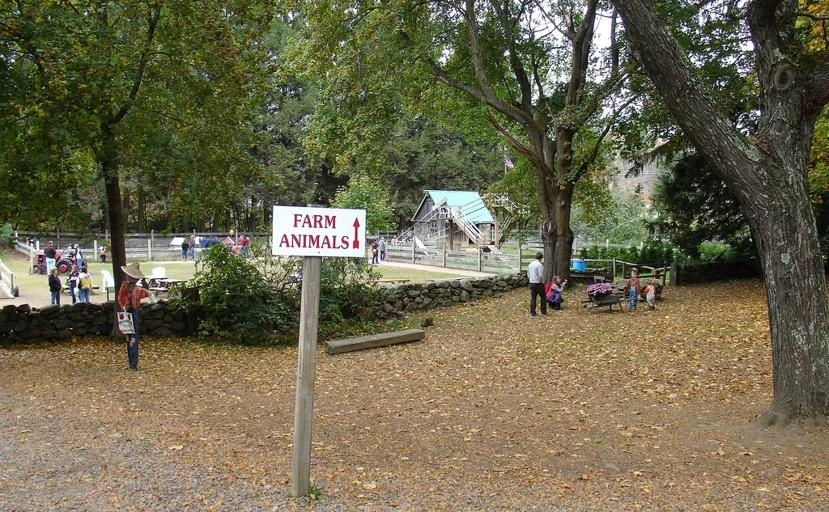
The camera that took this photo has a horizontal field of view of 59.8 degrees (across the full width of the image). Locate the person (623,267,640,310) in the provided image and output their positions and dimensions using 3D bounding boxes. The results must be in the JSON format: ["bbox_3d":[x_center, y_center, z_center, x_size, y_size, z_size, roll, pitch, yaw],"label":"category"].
[{"bbox_3d":[7.166,1.090,23.861,0.500,1.372,2.104,6,12,17],"label":"person"}]

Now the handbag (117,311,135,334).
[{"bbox_3d":[-7.378,1.697,18.414,0.379,0.609,0.258,-3,13,-22],"label":"handbag"}]

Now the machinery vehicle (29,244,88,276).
[{"bbox_3d":[-16.918,0.198,33.965,2.851,1.678,1.602,2,3,19],"label":"machinery vehicle"}]

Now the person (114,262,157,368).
[{"bbox_3d":[-7.349,1.546,18.764,0.689,2.750,0.997,-3,13,-19],"label":"person"}]

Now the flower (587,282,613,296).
[{"bbox_3d":[5.984,1.058,23.203,0.648,0.231,0.622,2,-1,-37],"label":"flower"}]
